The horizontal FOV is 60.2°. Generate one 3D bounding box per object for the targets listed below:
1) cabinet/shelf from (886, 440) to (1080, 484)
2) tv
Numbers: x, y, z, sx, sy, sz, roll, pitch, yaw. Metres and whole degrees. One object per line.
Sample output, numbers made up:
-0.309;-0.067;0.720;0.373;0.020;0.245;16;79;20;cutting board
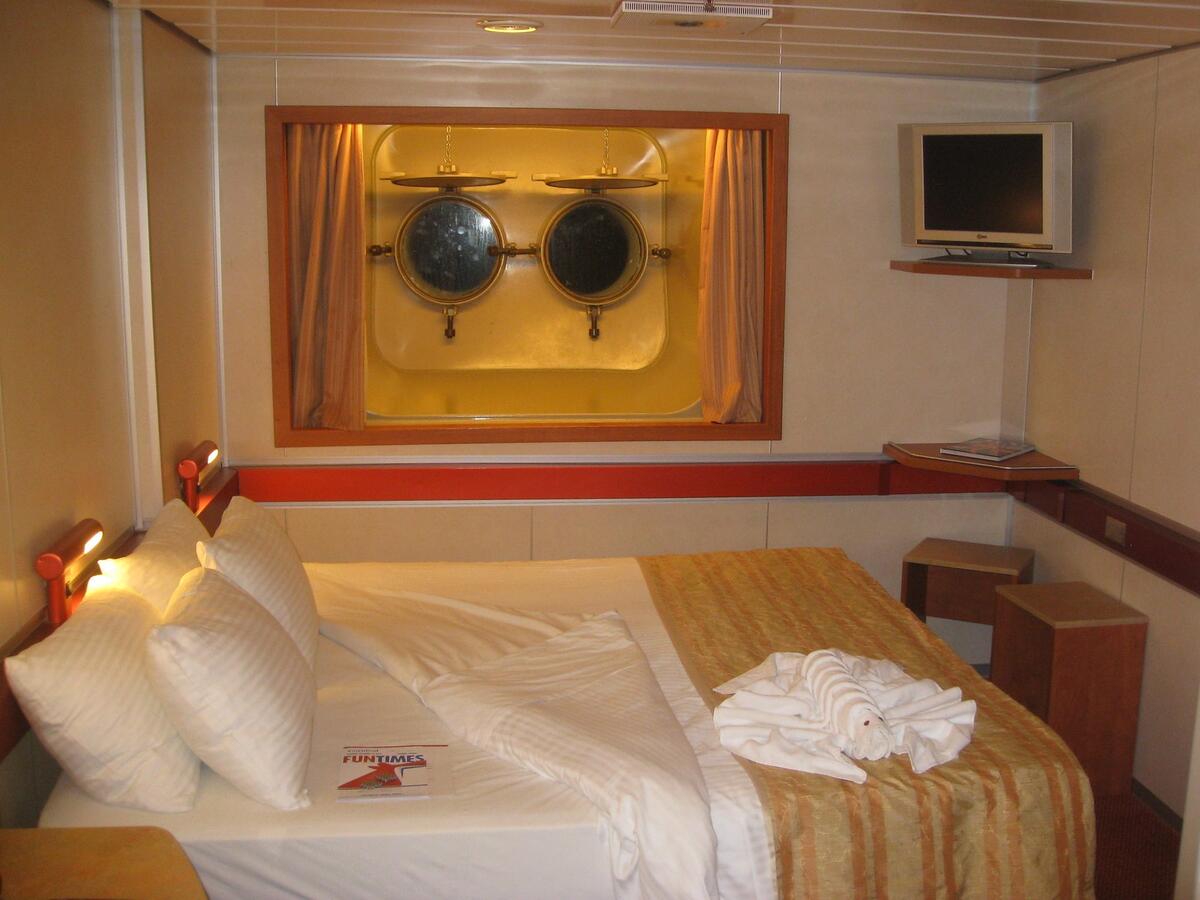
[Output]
1.734;0.047;4.798;0.827;0.248;0.427;-4;-9;15;cabinet/shelf
1.703;-1.121;4.486;0.611;0.484;0.067;7;18;33;tv
